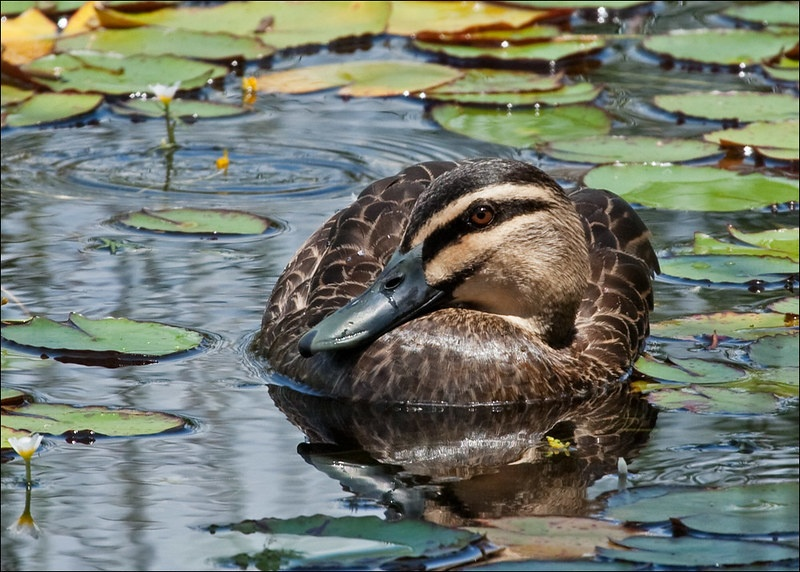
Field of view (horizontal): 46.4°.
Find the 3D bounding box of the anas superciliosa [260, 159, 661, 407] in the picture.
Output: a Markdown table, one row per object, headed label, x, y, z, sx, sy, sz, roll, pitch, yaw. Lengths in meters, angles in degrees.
| label | x | y | z | sx | sy | sz | roll | pitch | yaw |
| --- | --- | --- | --- | --- | --- | --- | --- | --- | --- |
| anas superciliosa | 0.357 | -0.099 | 5.930 | 2.508 | 1.456 | 1.649 | 6 | 26 | 10 |
